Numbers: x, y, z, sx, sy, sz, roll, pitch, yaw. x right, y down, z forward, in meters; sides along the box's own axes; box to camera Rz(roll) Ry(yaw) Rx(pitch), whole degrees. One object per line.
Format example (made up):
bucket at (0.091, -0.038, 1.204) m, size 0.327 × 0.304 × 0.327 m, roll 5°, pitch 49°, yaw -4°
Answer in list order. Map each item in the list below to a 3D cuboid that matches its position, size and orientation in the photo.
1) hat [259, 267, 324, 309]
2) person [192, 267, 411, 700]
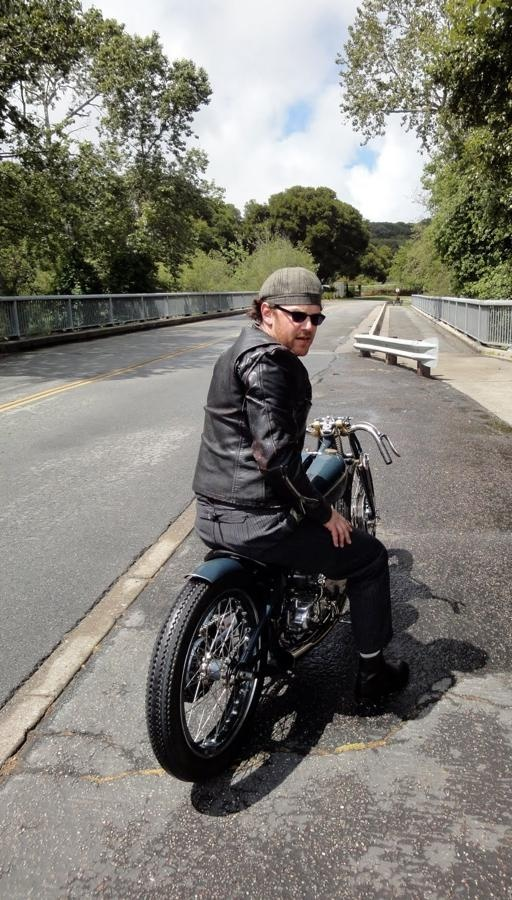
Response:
hat at (0.124, -0.580, 1.884) m, size 0.150 × 0.108 × 0.165 m, roll 5°, pitch 21°, yaw 12°
person at (0.209, 0.125, 2.039) m, size 0.740 × 1.515 × 0.585 m, roll -2°, pitch 6°, yaw -21°
